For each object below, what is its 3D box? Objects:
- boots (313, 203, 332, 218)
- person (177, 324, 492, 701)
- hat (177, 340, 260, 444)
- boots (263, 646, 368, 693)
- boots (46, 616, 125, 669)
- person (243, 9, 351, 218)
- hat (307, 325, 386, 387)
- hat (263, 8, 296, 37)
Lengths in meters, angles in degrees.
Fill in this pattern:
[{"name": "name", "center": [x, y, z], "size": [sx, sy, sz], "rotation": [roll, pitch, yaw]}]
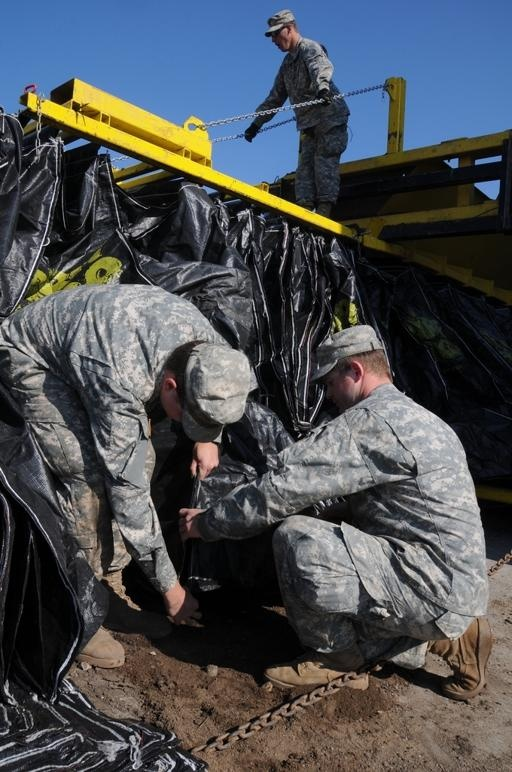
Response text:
[{"name": "boots", "center": [0.563, -1.457, 5.682], "size": [0.133, 0.132, 0.354], "rotation": [5, 5, 0]}, {"name": "person", "center": [0.460, 0.571, 3.031], "size": [1.344, 1.490, 0.909], "rotation": [3, -6, 25]}, {"name": "hat", "center": [-0.133, 0.014, 2.236], "size": [0.234, 0.311, 0.163], "rotation": [0, 8, -35]}, {"name": "boots", "center": [0.224, 1.047, 2.487], "size": [0.437, 0.185, 0.143], "rotation": [5, -6, -7]}, {"name": "boots", "center": [-0.647, 0.982, 2.585], "size": [0.255, 0.154, 0.125], "rotation": [-2, -6, 14]}, {"name": "person", "center": [0.378, -2.251, 5.619], "size": [0.800, 1.662, 1.124], "rotation": [5, 5, 2]}, {"name": "hat", "center": [0.350, -0.128, 2.745], "size": [0.267, 0.143, 0.207], "rotation": [-27, -11, 25]}, {"name": "hat", "center": [0.187, -2.967, 5.534], "size": [0.211, 0.254, 0.242], "rotation": [5, 5, 8]}]
